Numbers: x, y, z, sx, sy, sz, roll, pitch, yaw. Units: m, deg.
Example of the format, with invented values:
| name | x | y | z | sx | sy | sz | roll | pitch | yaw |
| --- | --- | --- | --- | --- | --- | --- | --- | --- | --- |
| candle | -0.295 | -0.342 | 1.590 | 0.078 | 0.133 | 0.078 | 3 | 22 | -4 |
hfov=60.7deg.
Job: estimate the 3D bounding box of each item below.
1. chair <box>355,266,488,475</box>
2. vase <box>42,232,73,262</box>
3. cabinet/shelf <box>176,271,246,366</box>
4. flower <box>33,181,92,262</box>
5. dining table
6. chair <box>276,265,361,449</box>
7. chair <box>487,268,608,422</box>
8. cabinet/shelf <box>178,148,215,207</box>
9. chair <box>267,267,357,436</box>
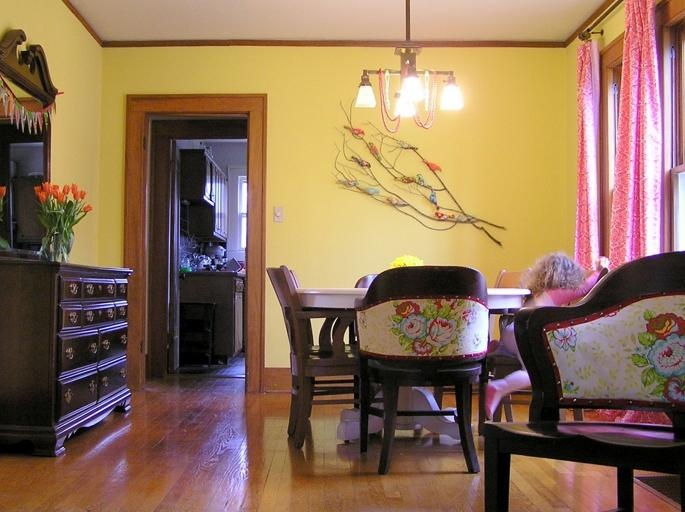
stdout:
| name | x | y | z | sx | sy | sz | roll | pitch | yaw |
| --- | --- | --- | --- | --- | --- | --- | --- | --- | --- |
| chair | 0.424 | 0.590 | 3.155 | 0.678 | 1.009 | 0.639 | 1 | -5 | 2 |
| vase | -1.794 | -0.044 | 3.711 | 0.183 | 0.296 | 0.196 | 3 | 0 | -33 |
| cabinet/shelf | -1.406 | 0.678 | 6.502 | 0.581 | 0.948 | 0.984 | 1 | -3 | -4 |
| flower | -1.752 | -0.194 | 3.793 | 0.392 | 0.505 | 0.319 | 2 | 6 | -34 |
| dining table | 0.230 | 0.583 | 3.601 | 1.023 | 0.687 | 1.028 | 0 | -4 | -1 |
| chair | -0.159 | 0.555 | 3.884 | 0.837 | 1.260 | 0.813 | 0 | -1 | -5 |
| chair | 1.171 | 0.574 | 3.899 | 0.916 | 1.306 | 0.756 | -1 | -7 | 10 |
| cabinet/shelf | -1.830 | -0.787 | 7.613 | 0.294 | 0.713 | 1.418 | -4 | -15 | -6 |
| chair | -0.094 | 0.586 | 3.579 | 0.642 | 0.939 | 0.667 | 0 | -2 | -16 |
